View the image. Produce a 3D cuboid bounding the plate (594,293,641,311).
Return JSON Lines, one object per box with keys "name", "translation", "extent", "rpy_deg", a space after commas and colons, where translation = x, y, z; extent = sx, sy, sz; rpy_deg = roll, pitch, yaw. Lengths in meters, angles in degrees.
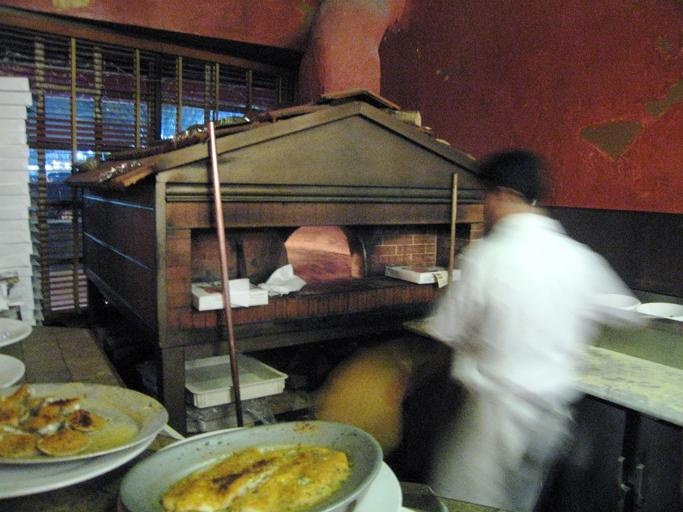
{"name": "plate", "translation": [1.711, 0.277, 3.475], "extent": [0.148, 0.049, 0.147], "rpy_deg": [0, 11, 9]}
